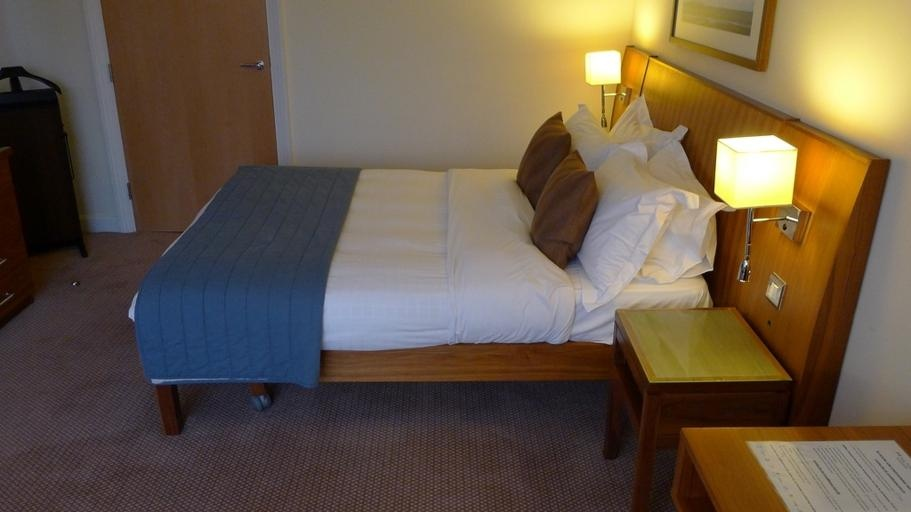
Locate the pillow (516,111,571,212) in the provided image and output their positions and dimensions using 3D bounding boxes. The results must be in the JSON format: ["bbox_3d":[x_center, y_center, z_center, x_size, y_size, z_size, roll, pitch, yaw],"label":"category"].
[{"bbox_3d":[0.650,-0.732,4.503,0.319,0.562,0.800,11,10,0],"label":"pillow"}]

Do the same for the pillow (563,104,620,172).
[{"bbox_3d":[0.930,-0.810,4.113,0.156,0.504,0.544,-10,13,-3],"label":"pillow"}]

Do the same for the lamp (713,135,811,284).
[{"bbox_3d":[1.524,-0.208,3.045,0.476,0.700,0.398,-5,10,-8],"label":"lamp"}]

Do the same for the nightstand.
[{"bbox_3d":[1.221,0.729,2.899,0.722,0.959,0.777,-1,30,0],"label":"nightstand"}]
